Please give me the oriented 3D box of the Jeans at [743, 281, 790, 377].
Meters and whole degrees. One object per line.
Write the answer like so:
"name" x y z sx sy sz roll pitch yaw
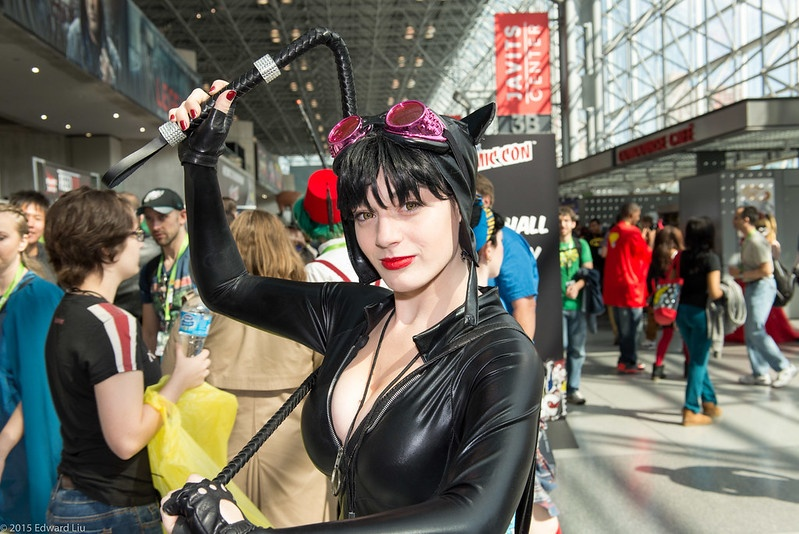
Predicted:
"Jeans" 4.274 0.677 7.156 0.389 1.204 0.404 0 -2 -8

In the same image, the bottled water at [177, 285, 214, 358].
"bottled water" -1.093 0.313 3.283 0.133 0.172 0.552 -28 -11 -19

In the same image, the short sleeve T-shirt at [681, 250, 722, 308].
"short sleeve T-shirt" 3.045 0.142 6.131 0.243 0.504 0.457 7 -1 -36

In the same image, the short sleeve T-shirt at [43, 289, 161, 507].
"short sleeve T-shirt" -1.640 0.689 3.409 0.520 1.089 0.993 -2 0 -39

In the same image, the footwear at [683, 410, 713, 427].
"footwear" 2.878 1.465 5.893 0.219 0.258 0.111 -3 4 -10

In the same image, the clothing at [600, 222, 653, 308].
"clothing" 2.968 -0.064 7.852 0.495 1.052 0.694 -6 10 -17

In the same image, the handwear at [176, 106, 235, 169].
"handwear" -0.804 -0.519 2.515 0.149 0.309 0.124 18 12 -9

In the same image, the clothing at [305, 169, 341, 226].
"clothing" -0.509 -0.454 4.110 0.287 0.393 0.361 0 -20 -11

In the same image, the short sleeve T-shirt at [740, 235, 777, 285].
"short sleeve T-shirt" 4.440 -0.116 7.621 0.386 0.807 0.765 1 3 17

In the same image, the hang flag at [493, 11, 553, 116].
"hang flag" 1.955 -3.070 9.653 0.900 2.117 0.189 4 -16 -1
